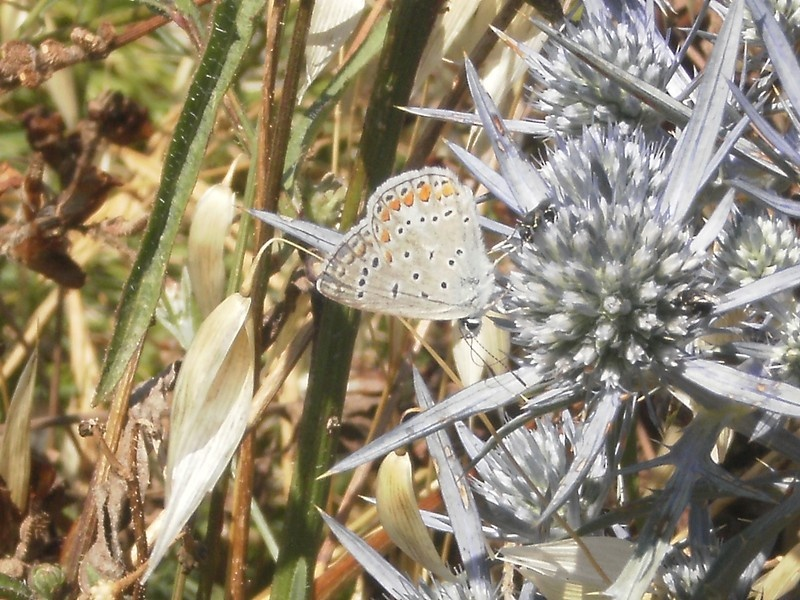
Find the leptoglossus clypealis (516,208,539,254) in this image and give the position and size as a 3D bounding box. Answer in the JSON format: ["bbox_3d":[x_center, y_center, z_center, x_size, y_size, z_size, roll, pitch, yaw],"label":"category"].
[{"bbox_3d":[0.229,-0.127,2.062,0.028,0.071,0.052,9,61,-28],"label":"leptoglossus clypealis"}]

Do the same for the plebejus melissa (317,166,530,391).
[{"bbox_3d":[0.015,-0.076,2.195,0.199,0.374,0.368,-27,-6,17],"label":"plebejus melissa"}]
